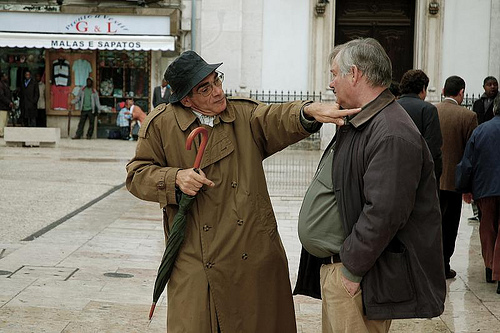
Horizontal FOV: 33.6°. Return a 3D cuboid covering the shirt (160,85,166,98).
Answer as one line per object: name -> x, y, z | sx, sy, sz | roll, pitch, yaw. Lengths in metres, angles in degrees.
shirt -> -2.600, -2.264, 25.023 | 0.170, 0.404, 0.077 | 0, -12, 0

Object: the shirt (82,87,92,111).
shirt -> -5.128, -2.132, 26.304 | 0.176, 0.589, 0.376 | 6, 3, -40

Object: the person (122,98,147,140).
person -> -3.541, -1.532, 26.492 | 0.735, 1.393, 0.581 | -3, 12, 18

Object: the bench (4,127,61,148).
bench -> -5.968, -0.793, 22.781 | 1.433, 0.612, 0.425 | -4, 11, -19

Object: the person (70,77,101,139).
person -> -5.185, -1.862, 26.489 | 0.790, 1.954, 0.391 | 1, 10, 6

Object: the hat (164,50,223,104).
hat -> -0.794, -1.247, 10.435 | 0.719, 0.383, 0.813 | -17, 19, -9

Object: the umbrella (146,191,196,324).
umbrella -> -0.999, 1.233, 10.665 | 0.274, 1.860, 0.249 | 16, 5, 7

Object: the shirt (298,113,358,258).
shirt -> 1.051, 0.175, 10.481 | 0.774, 2.211, 0.789 | 4, -1, 0

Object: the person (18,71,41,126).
person -> -6.955, -2.107, 26.001 | 0.673, 1.734, 0.618 | 2, 10, 8

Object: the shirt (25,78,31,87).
shirt -> -6.940, -2.662, 25.858 | 0.144, 0.165, 0.038 | -12, -12, 17
